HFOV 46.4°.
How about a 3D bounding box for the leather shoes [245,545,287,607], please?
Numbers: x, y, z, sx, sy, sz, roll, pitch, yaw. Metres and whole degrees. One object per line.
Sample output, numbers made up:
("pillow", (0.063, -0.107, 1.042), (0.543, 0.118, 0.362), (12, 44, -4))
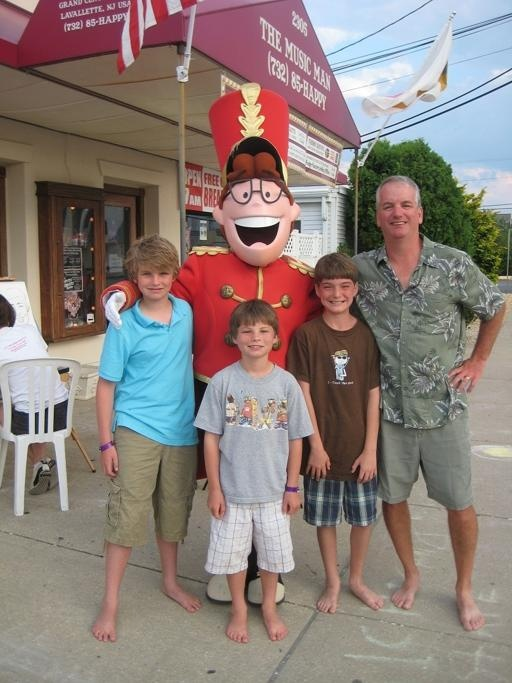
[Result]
("leather shoes", (0.031, 0.938, 2.352), (0.097, 0.101, 0.275), (0, -1, -6))

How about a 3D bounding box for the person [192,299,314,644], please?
("person", (-0.009, 0.441, 2.047), (0.391, 1.163, 0.203), (-1, 7, -11))

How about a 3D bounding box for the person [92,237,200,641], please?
("person", (-0.405, 0.314, 2.126), (0.235, 1.362, 0.453), (5, 8, 30))

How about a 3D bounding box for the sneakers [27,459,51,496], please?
("sneakers", (-1.216, 0.759, 3.338), (0.102, 0.221, 0.094), (0, 48, -28))

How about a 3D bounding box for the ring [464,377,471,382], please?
("ring", (0.778, 0.138, 2.199), (0.018, 0.016, 0.004), (4, 18, -2))

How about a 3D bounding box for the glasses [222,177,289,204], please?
("glasses", (0.000, -0.552, 2.194), (0.132, 0.045, 0.129), (0, -12, -5))

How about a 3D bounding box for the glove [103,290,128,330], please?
("glove", (-0.463, -0.105, 2.025), (0.054, 0.112, 0.089), (4, -15, 18))
